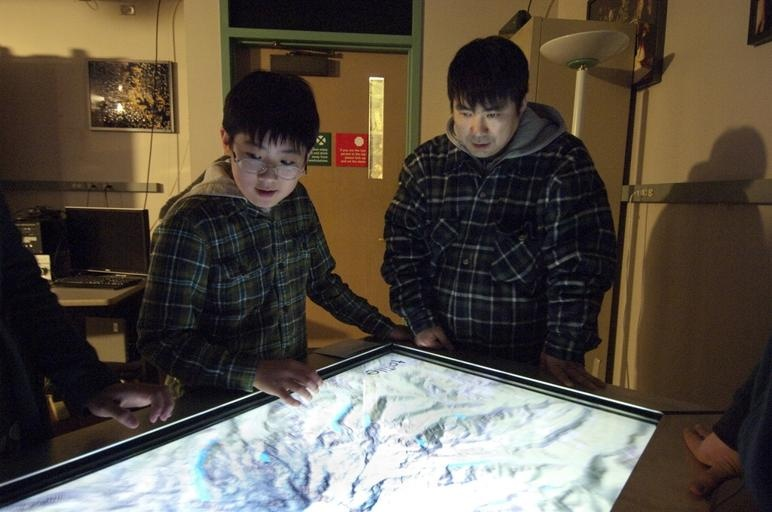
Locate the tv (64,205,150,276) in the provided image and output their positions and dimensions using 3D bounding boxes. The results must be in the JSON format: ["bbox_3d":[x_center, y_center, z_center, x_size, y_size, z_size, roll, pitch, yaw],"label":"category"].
[{"bbox_3d":[-1.975,-0.108,3.935,0.669,0.466,0.065,3,5,9],"label":"tv"}]

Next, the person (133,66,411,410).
[{"bbox_3d":[-0.390,-0.099,1.813,0.526,0.985,0.724,10,15,37],"label":"person"}]

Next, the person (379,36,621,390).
[{"bbox_3d":[0.386,-0.167,2.054,0.872,1.232,0.537,5,13,21],"label":"person"}]

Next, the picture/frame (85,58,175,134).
[{"bbox_3d":[-2.048,-1.275,4.421,0.674,0.560,0.016,-1,5,-3],"label":"picture/frame"}]
